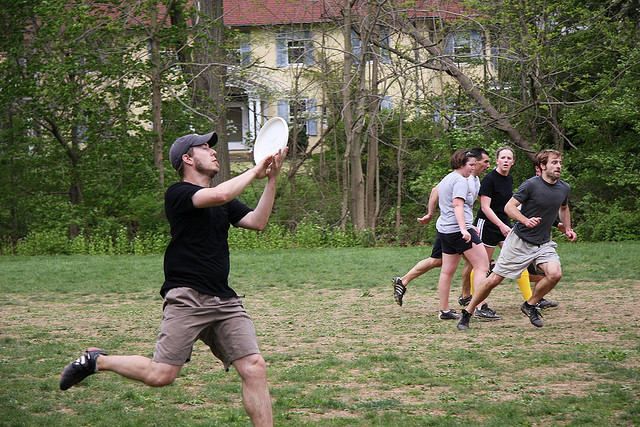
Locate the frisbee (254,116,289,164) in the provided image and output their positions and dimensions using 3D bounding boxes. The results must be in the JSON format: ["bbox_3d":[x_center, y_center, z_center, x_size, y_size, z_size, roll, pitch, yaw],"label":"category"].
[{"bbox_3d":[-0.726,-1.128,10.603,0.106,0.594,0.684,14,-38,-37],"label":"frisbee"}]

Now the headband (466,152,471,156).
[{"bbox_3d":[2.664,-1.075,12.887,0.048,0.059,0.018,-4,18,3],"label":"headband"}]

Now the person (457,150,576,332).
[{"bbox_3d":[3.562,0.480,12.502,1.456,3.152,0.555,1,15,9],"label":"person"}]
